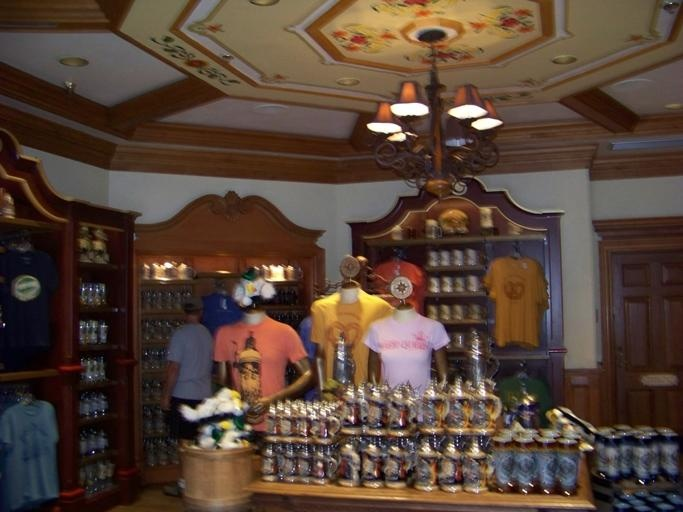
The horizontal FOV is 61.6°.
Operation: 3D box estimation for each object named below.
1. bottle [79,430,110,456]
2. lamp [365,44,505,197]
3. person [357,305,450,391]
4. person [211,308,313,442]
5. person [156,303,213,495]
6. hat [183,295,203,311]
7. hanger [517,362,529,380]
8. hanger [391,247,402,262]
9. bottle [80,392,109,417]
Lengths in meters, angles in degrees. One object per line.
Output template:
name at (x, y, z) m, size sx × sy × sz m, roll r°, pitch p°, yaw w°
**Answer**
bottle at (-2.311, 1.768, 5.355) m, size 0.253 × 0.230 × 0.136 m, roll 6°, pitch -10°, yaw -24°
lamp at (0.686, -1.027, 4.108) m, size 0.988 × 1.272 × 0.960 m, roll -1°, pitch 29°, yaw 11°
person at (0.398, 0.652, 3.923) m, size 0.612 × 1.017 × 0.236 m, roll -2°, pitch -5°, yaw 6°
person at (-0.509, 0.742, 3.924) m, size 0.481 × 0.733 × 0.661 m, roll 7°, pitch -10°, yaw -38°
person at (-1.460, 1.095, 5.485) m, size 0.442 × 1.321 × 0.563 m, roll 3°, pitch -8°, yaw -15°
hat at (-1.461, 0.471, 5.670) m, size 0.158 × 0.118 × 0.210 m, roll 0°, pitch 9°, yaw 2°
hanger at (1.939, 1.241, 6.103) m, size 0.151 × 0.266 × 0.154 m, roll -2°, pitch -15°, yaw 13°
hanger at (0.655, -0.016, 6.725) m, size 0.100 × 0.128 × 0.129 m, roll 8°, pitch 22°, yaw -44°
bottle at (-2.325, 1.402, 5.383) m, size 0.209 × 0.190 × 0.210 m, roll 1°, pitch -5°, yaw 12°
